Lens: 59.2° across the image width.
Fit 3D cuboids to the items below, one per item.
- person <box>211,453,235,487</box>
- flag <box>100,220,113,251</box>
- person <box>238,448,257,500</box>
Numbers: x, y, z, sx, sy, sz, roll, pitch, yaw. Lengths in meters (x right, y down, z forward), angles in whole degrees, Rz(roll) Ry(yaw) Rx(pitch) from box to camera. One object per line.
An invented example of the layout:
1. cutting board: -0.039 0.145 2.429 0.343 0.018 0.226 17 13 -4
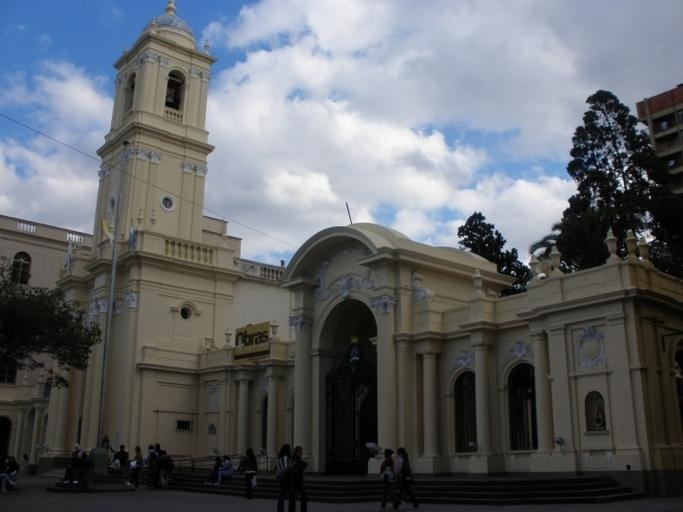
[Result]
1. person: -4.818 8.914 24.625 0.897 0.614 1.422 -3 24 -1
2. flag: -14.234 -1.245 36.317 0.305 2.109 0.817 -33 -52 -2
3. person: -3.343 7.719 21.382 0.601 1.650 0.549 10 -12 -36
